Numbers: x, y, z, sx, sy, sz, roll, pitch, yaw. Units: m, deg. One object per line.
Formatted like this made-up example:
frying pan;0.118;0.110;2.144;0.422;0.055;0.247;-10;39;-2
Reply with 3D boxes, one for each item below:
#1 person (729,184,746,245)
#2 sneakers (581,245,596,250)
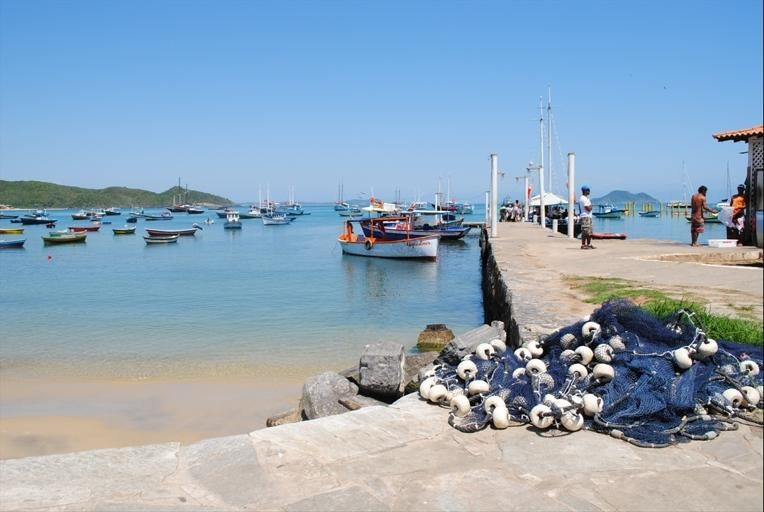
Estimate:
person;10.679;-1.241;18.266;0.432;1.713;1.172;3;8;30
sneakers;6.775;-0.292;19.845;0.478;0.179;0.157;-4;7;-26
